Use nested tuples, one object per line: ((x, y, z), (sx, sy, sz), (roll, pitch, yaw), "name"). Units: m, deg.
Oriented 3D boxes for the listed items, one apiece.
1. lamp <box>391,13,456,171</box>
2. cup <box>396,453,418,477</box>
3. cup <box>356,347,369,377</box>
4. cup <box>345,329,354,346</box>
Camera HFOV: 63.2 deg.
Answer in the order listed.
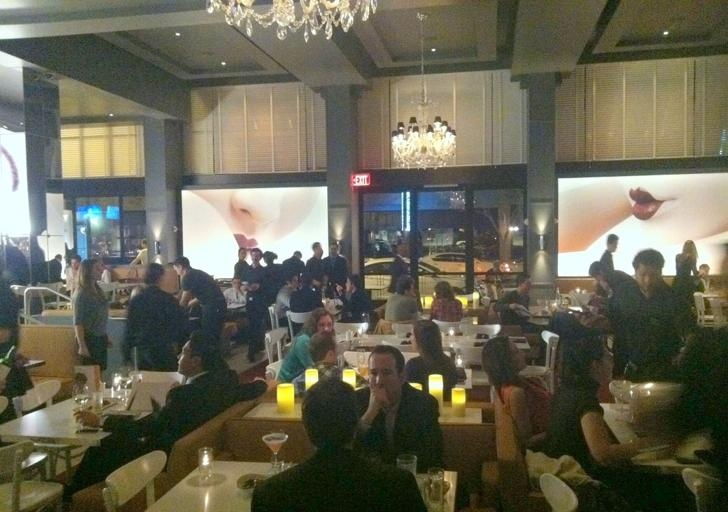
((0.959, -2.415, 9.307), (1.132, 2.132, 2.468), (-1, 2, 3), "lamp")
((0.271, 1.351, 3.780), (0.131, 0.181, 0.265), (-1, 2, 3), "cup")
((-0.021, 1.020, 5.612), (0.180, 0.270, 0.161), (-1, 1, 3), "cup")
((-0.149, 0.869, 6.437), (0.126, 0.205, 0.127), (1, 5, 0), "cup")
